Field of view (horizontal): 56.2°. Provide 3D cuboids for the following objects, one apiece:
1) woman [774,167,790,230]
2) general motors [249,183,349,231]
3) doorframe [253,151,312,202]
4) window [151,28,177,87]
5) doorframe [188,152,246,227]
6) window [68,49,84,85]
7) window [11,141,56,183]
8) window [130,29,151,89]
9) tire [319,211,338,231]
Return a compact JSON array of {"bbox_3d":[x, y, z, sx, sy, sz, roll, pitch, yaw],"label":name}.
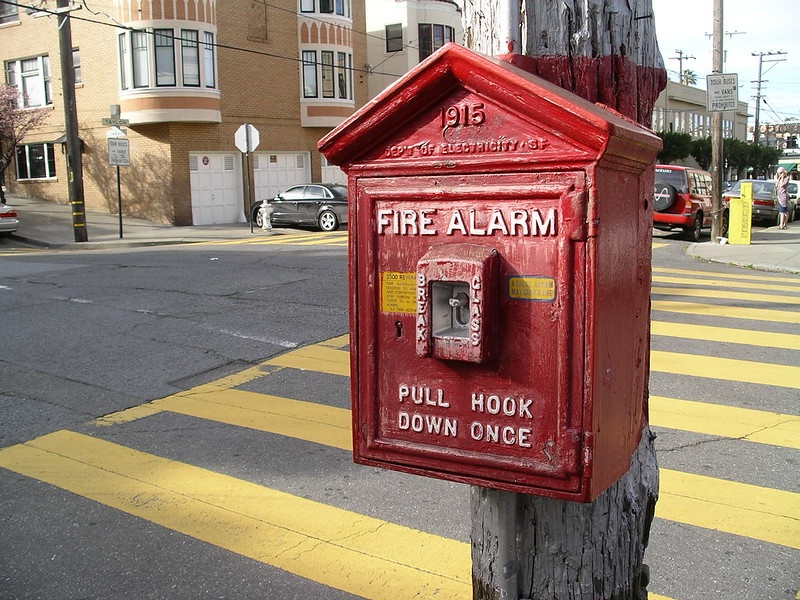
[{"bbox_3d":[12.419,-3.207,24.189,0.422,2.043,3.203,5,14,27],"label":"woman"},{"bbox_3d":[-3.090,-2.745,23.153,3.561,1.276,1.567,10,14,36],"label":"general motors"},{"bbox_3d":[-4.981,-4.925,30.110,2.392,1.979,0.247,-5,11,-19],"label":"doorframe"},{"bbox_3d":[-8.215,-8.268,25.764,0.719,2.240,0.078,-3,-11,-13],"label":"window"},{"bbox_3d":[-6.947,-4.114,27.613,0.289,2.938,2.670,0,1,39],"label":"doorframe"},{"bbox_3d":[-12.437,-8.799,28.443,0.204,1.319,0.637,-9,14,-36],"label":"window"},{"bbox_3d":[-15.341,-5.737,31.210,0.148,1.535,1.962,12,18,33],"label":"window"},{"bbox_3d":[-9.093,-8.242,25.838,0.667,2.494,0.110,-6,-19,-10],"label":"window"},{"bbox_3d":[-2.149,-2.336,22.045,0.479,0.535,0.159,-7,5,41],"label":"tire"}]
